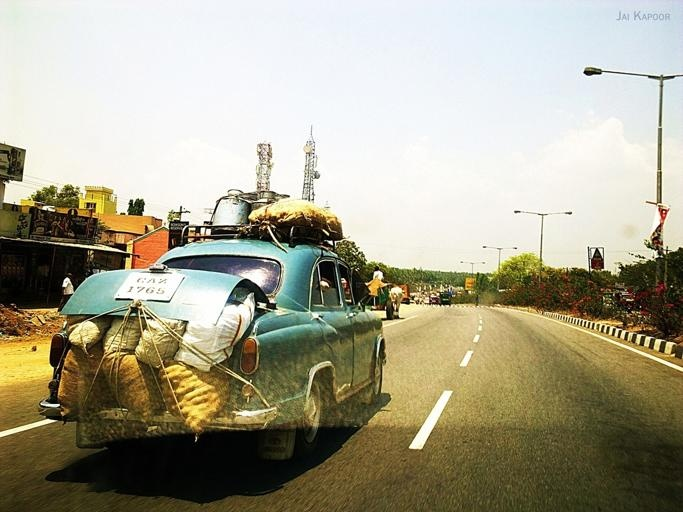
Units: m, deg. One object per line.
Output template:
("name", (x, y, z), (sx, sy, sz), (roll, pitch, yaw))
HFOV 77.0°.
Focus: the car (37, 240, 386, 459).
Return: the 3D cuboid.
("car", (-0.788, 0.802, 4.891), (2.021, 1.446, 3.469), (0, 2, 22))
